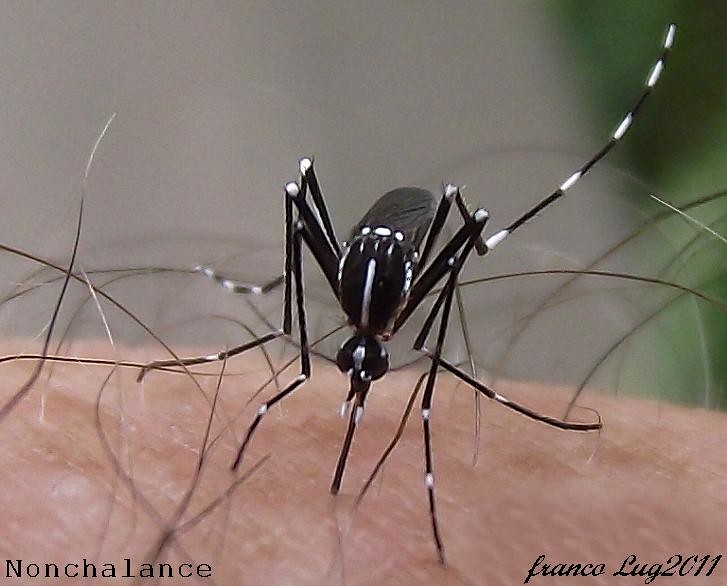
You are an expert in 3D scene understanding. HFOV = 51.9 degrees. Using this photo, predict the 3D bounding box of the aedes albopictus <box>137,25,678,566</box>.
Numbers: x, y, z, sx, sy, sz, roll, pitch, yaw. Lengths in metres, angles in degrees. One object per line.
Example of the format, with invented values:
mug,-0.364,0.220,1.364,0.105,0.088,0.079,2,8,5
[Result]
aedes albopictus,0.074,0.085,1.712,1.133,1.036,0.479,5,-24,-13
